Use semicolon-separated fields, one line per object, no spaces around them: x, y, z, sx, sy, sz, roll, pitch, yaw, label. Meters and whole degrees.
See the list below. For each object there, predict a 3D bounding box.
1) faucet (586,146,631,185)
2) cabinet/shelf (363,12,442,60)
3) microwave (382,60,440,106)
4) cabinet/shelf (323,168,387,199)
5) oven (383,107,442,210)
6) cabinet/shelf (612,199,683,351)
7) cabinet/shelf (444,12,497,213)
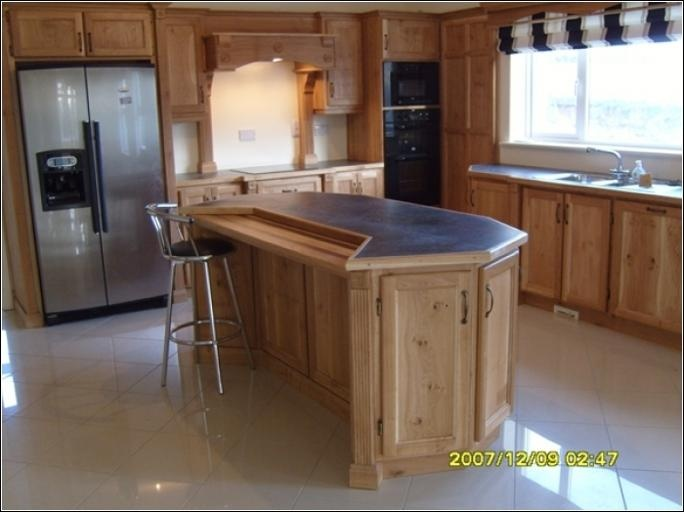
2.402;-0.827;4.643;0.311;0.293;0.545;-4;15;5;faucet
0.787;-2.622;6.228;0.876;0.519;0.157;-13;18;-26;cabinet/shelf
0.792;-2.105;6.252;0.625;0.430;0.332;-2;-4;-20;microwave
0.115;-0.843;5.893;0.567;0.524;0.239;11;16;38;cabinet/shelf
0.849;-1.270;6.688;0.757;1.219;0.598;-5;17;-7;oven
2.362;0.058;4.059;0.176;0.943;0.592;-12;17;-22;cabinet/shelf
1.472;-1.670;6.155;0.257;2.272;0.994;-11;17;-21;cabinet/shelf
